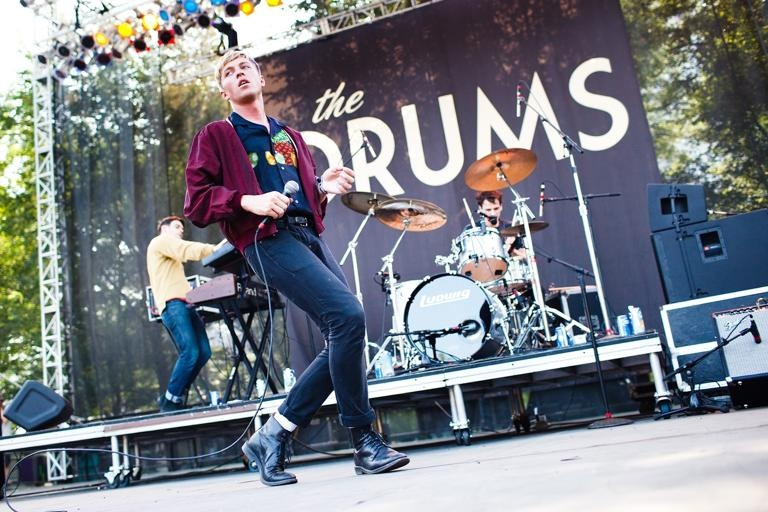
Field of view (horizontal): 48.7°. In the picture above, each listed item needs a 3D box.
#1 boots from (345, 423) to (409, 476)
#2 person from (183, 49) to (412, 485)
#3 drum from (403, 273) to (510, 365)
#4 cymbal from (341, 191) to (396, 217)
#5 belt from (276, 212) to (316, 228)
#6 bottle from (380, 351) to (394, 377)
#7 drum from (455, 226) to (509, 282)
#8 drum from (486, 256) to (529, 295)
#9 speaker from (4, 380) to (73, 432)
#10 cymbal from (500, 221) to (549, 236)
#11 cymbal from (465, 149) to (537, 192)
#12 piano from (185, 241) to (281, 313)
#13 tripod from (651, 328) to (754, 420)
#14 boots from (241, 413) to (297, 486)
[{"bbox_3d":[-0.080,1.588,6.864,0.583,0.433,0.255,-17,-18,36],"label":"boots"},{"bbox_3d":[-0.801,0.028,7.007,1.356,3.657,0.501,-8,-7,-1],"label":"person"},{"bbox_3d":[0.753,0.678,8.801,0.719,0.759,0.315,-16,-21,20],"label":"drum"},{"bbox_3d":[-0.237,-0.627,9.439,0.350,0.088,0.365,8,-37,-1],"label":"cymbal"},{"bbox_3d":[-0.734,-0.305,6.987,0.185,0.066,0.143,-6,-21,4],"label":"belt"},{"bbox_3d":[0.027,1.172,9.170,0.178,0.320,0.206,-4,-41,-1],"label":"bottle"},{"bbox_3d":[1.043,0.015,9.335,0.559,0.427,0.571,-2,-39,-1],"label":"drum"},{"bbox_3d":[1.416,0.166,9.294,0.441,0.325,0.422,-1,-22,0],"label":"drum"},{"bbox_3d":[-3.519,1.520,8.654,0.647,0.512,0.285,-6,-8,-24],"label":"speaker"},{"bbox_3d":[1.481,-0.293,9.328,0.292,0.053,0.274,-3,-10,-43],"label":"cymbal"},{"bbox_3d":[1.263,-1.104,9.472,0.727,0.153,0.724,-15,-17,-23],"label":"cymbal"},{"bbox_3d":[-1.574,0.496,8.893,0.679,0.807,1.143,-14,-26,16],"label":"piano"},{"bbox_3d":[3.095,1.063,8.210,0.892,0.847,0.773,-15,-9,15],"label":"tripod"},{"bbox_3d":[-0.943,1.603,6.963,0.412,0.556,0.294,-7,-7,-11],"label":"boots"}]
